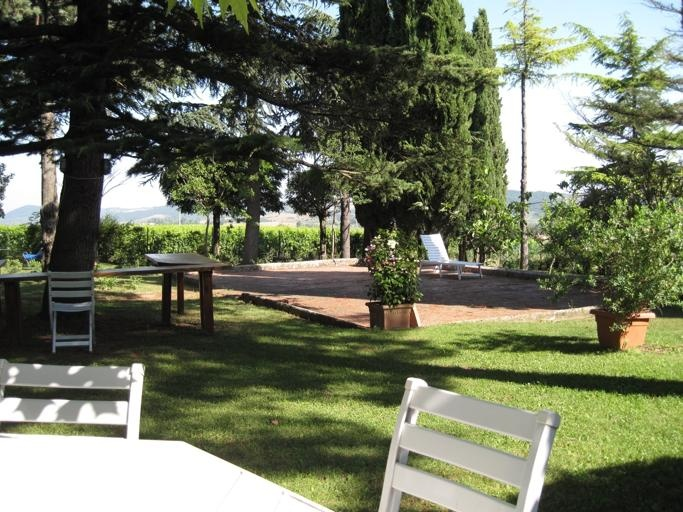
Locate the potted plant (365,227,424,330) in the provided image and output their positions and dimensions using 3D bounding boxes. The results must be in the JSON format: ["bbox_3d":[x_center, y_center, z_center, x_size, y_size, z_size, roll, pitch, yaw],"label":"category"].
[{"bbox_3d":[0.829,0.356,9.250,0.889,1.578,0.746,4,4,23],"label":"potted plant"}]

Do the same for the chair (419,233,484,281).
[{"bbox_3d":[3.156,-0.012,17.217,1.085,1.285,2.118,-3,6,-36],"label":"chair"}]
